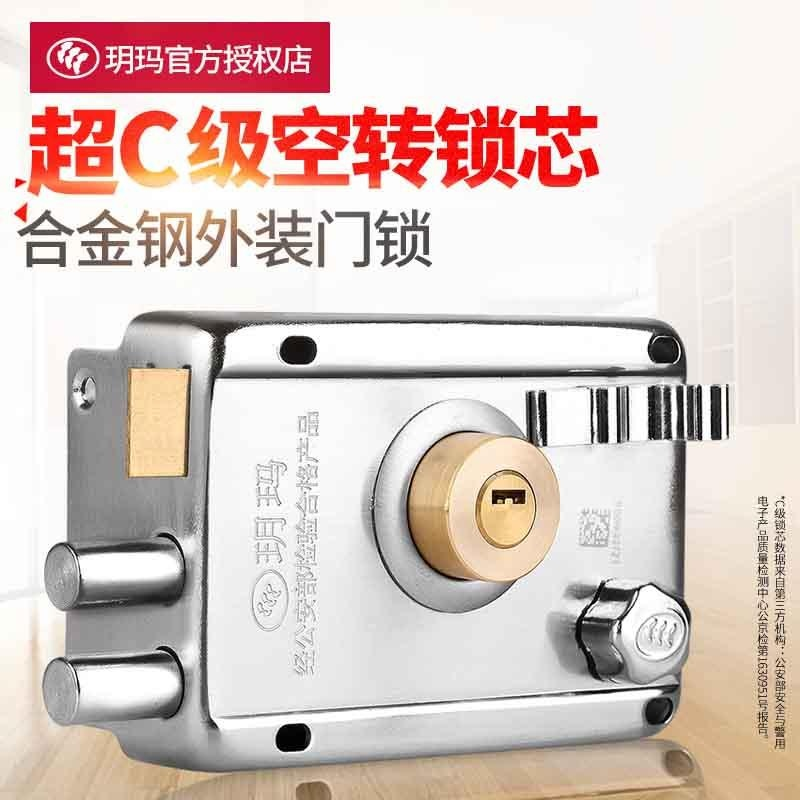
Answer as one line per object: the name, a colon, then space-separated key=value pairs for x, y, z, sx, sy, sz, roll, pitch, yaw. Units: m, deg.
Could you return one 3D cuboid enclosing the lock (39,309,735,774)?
lock: x=0.006 y=0.068 z=0.548 sx=0.358 sy=0.298 sz=0.224 roll=-2 pitch=12 yaw=-13
